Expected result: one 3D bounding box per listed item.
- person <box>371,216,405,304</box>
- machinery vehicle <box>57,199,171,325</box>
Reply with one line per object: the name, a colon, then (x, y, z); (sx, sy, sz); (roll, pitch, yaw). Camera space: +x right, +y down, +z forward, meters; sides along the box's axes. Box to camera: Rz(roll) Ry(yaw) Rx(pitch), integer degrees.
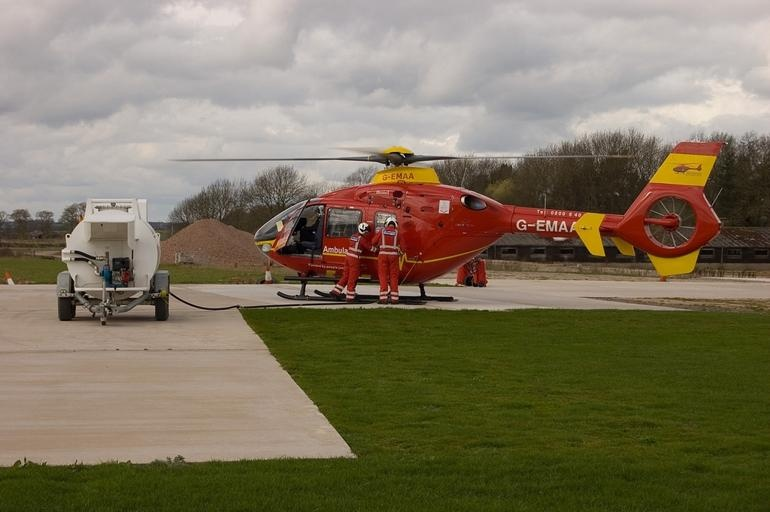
person: (0.081, 0.162, 23.935); (0.670, 2.476, 0.624); (-6, 14, -27)
machinery vehicle: (-5.658, 0.134, 22.618); (4.157, 3.394, 5.609); (1, 2, -4)
